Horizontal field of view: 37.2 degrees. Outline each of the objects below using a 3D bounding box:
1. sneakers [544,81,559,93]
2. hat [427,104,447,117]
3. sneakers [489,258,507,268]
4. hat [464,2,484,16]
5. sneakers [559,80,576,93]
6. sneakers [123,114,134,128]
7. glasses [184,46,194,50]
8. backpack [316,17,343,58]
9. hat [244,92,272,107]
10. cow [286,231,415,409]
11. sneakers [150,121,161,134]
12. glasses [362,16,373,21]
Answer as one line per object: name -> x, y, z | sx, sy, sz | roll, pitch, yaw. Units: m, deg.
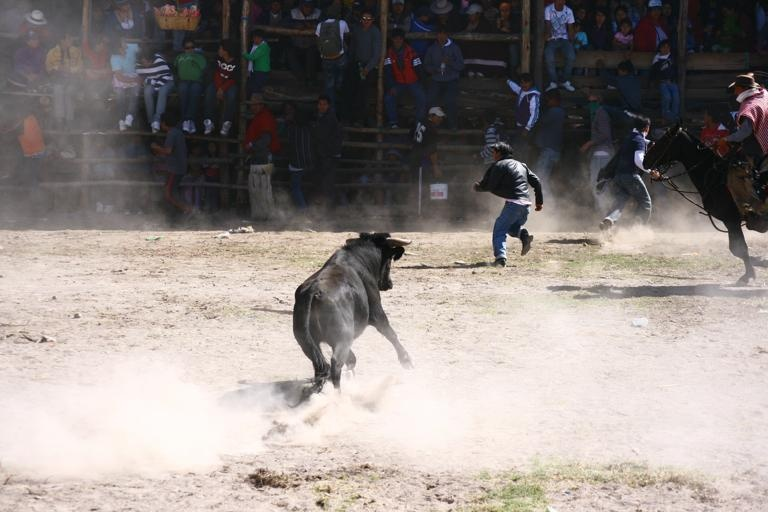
sneakers -> 3.970, -3.903, 26.821 | 0.189, 0.243, 0.624 | 0, -2, 29
hat -> 1.210, -3.298, 26.307 | 0.368, 0.184, 0.277 | 3, 8, 11
sneakers -> 2.168, 0.151, 21.703 | 0.261, 0.168, 0.193 | 5, 13, 22
hat -> 2.164, -5.829, 27.217 | 0.373, 0.262, 0.385 | 1, 12, 7
sneakers -> 4.426, -3.999, 27.252 | 0.157, 0.146, 0.417 | -16, 33, -13
sneakers -> -6.130, -3.154, 27.159 | 0.243, 0.338, 0.287 | -2, 12, -7
glasses -> -4.631, -4.866, 26.963 | 0.178, 0.109, 0.194 | -2, 12, -10
backpack -> -1.256, -4.958, 26.482 | 0.559, 0.904, 0.229 | -1, 12, -5
hat -> -2.951, -3.596, 26.708 | 0.452, 0.185, 0.500 | -1, -1, 13
cow -> -0.513, 0.873, 16.417 | 1.764, 2.116, 0.830 | -12, 17, -43
sneakers -> -5.427, -2.978, 27.022 | 0.222, 0.205, 0.257 | 1, -9, -9
glasses -> -0.388, -5.414, 26.285 | 0.145, 0.042, 0.146 | 1, 44, -4
